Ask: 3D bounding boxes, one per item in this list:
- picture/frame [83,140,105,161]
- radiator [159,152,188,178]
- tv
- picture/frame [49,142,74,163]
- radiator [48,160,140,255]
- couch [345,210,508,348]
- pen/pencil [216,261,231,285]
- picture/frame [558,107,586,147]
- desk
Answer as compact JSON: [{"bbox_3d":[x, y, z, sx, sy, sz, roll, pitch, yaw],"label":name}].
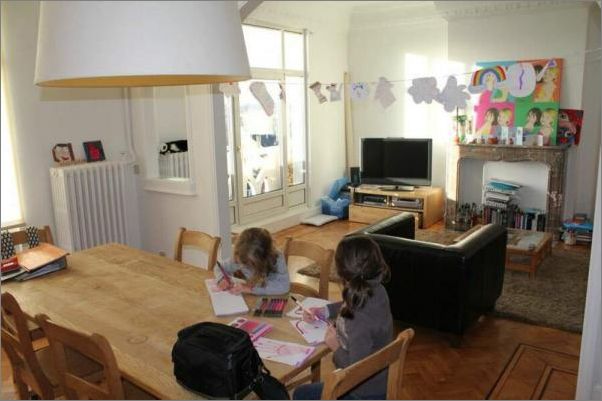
[{"bbox_3d":[-2.561,-0.621,5.120,0.255,0.264,0.122,-13,16,-42],"label":"picture/frame"},{"bbox_3d":[-1.699,-0.501,5.618,0.054,0.385,0.438,-6,-1,30],"label":"radiator"},{"bbox_3d":[1.776,-0.669,7.474,1.002,0.705,0.179,2,6,22],"label":"tv"},{"bbox_3d":[-2.827,-0.562,4.853,0.039,0.227,0.236,2,9,37],"label":"picture/frame"},{"bbox_3d":[-2.502,0.062,4.906,0.453,1.536,0.905,8,14,36],"label":"radiator"},{"bbox_3d":[1.267,0.659,4.114,1.322,1.012,1.293,8,17,37],"label":"couch"},{"bbox_3d":[-0.585,0.545,3.107,0.029,0.027,0.241,-13,43,-24],"label":"pen/pencil"},{"bbox_3d":[4.050,-1.103,6.230,0.307,0.554,0.174,4,14,26],"label":"picture/frame"},{"bbox_3d":[1.779,-0.068,7.781,1.546,0.684,1.153,10,34,40],"label":"desk"}]
